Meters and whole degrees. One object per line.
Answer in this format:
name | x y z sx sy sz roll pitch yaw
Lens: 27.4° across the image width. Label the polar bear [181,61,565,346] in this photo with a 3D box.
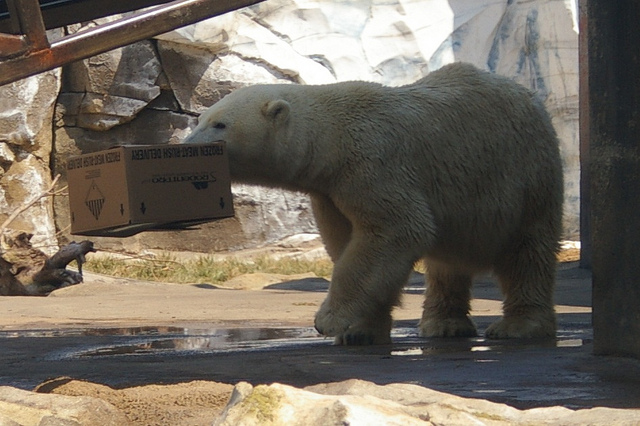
polar bear | 0.838 -0.184 17.198 6.964 3.822 3.666 0 5 15
